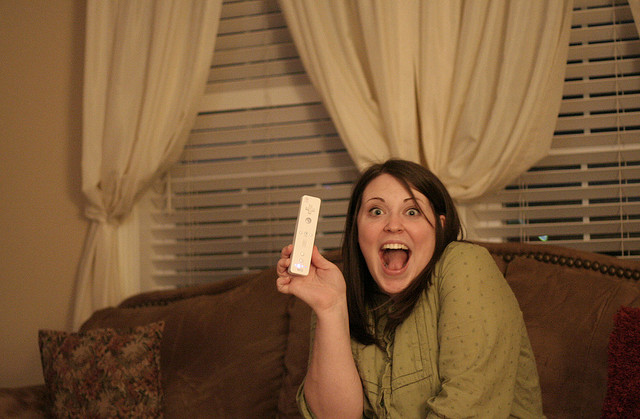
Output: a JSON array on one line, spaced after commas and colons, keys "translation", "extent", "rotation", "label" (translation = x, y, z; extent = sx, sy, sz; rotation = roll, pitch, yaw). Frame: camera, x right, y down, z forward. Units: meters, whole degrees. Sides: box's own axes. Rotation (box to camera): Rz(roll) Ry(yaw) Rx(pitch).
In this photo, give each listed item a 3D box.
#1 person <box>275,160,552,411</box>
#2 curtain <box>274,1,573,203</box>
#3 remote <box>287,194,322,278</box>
[{"translation": [0.552, 0.442, 3.318], "extent": [1.039, 1.457, 0.859], "rotation": [13, -32, -36], "label": "person"}, {"translation": [0.765, -0.722, 3.958], "extent": [1.416, 1.344, 0.161], "rotation": [-1, -4, 1], "label": "curtain"}, {"translation": [-0.083, 0.137, 3.103], "extent": [0.140, 0.373, 0.181], "rotation": [2, -16, -6], "label": "remote"}]
